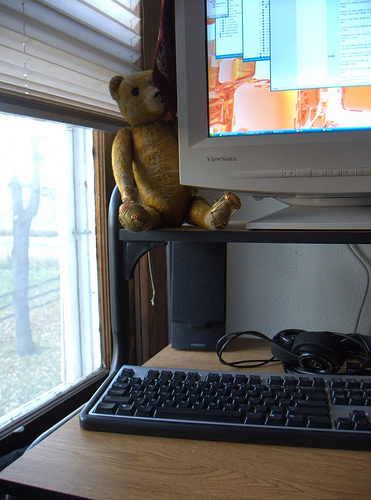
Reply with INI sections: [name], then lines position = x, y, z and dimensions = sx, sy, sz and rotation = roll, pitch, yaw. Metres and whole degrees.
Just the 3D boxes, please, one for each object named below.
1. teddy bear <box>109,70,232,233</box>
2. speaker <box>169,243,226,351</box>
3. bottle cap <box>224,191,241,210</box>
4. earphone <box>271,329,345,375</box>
[teddy bear]
position = -0.026, -0.168, 0.735
dimensions = 0.193, 0.274, 0.162
rotation = -4, 16, 13
[speaker]
position = 0.022, 0.094, 0.936
dimensions = 0.145, 0.189, 0.125
rotation = 0, 9, -9
[bottle cap]
position = 0.066, -0.070, 0.632
dimensions = 0.022, 0.026, 0.032
rotation = -1, 6, 5
[earphone]
position = 0.209, 0.153, 0.765
dimensions = 0.123, 0.077, 0.098
rotation = 1, 6, 16
